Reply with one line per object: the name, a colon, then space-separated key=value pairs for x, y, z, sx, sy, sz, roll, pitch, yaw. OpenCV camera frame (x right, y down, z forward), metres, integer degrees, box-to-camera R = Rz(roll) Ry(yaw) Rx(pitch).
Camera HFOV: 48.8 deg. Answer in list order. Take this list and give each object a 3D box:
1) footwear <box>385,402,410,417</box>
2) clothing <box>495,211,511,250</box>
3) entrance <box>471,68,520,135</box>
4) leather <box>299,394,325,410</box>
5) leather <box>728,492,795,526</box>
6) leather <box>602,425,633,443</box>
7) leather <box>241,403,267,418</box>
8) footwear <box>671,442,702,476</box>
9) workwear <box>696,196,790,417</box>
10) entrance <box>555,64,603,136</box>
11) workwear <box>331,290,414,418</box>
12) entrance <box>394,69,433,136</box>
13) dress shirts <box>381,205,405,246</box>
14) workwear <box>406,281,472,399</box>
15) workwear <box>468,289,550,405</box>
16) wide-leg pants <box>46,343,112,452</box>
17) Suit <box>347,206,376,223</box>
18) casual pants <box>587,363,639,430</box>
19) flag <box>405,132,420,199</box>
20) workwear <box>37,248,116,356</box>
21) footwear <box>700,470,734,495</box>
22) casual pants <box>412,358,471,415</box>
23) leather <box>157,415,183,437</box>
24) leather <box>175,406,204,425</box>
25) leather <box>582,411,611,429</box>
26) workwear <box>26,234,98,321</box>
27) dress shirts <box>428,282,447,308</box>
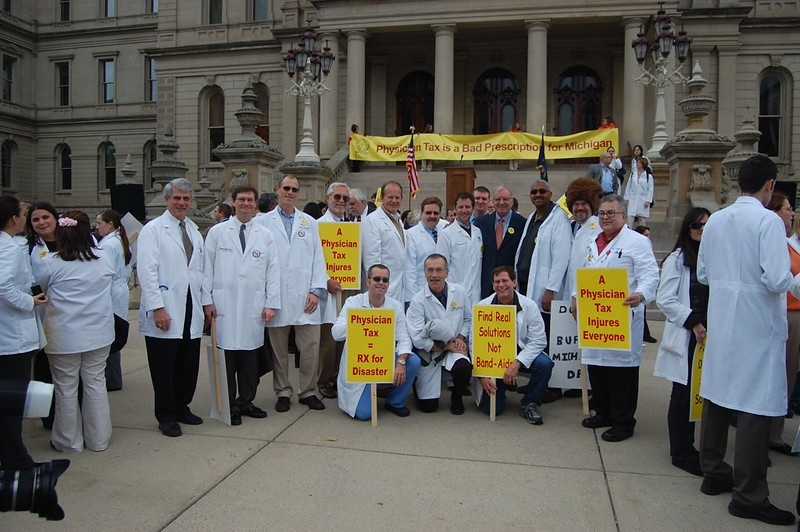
footwear: x=-0.034 y=2.448 z=15.130 sx=0.169 sy=0.201 sz=0.458 roll=-1 pitch=2 yaw=-42
clothing: x=1.928 y=-0.665 z=16.412 sx=0.276 sy=0.637 sz=0.137 roll=8 pitch=1 yaw=31
entrance: x=3.837 y=-6.375 z=35.062 sx=1.812 sy=3.420 sz=0.334 roll=0 pitch=-31 yaw=7
leather: x=-1.519 y=2.353 z=15.317 sx=0.438 sy=0.206 sz=0.195 roll=0 pitch=4 yaw=37
leather: x=5.309 y=3.554 z=12.993 sx=0.931 sy=0.435 sz=0.370 roll=1 pitch=0 yaw=5
leather: x=3.546 y=2.735 z=14.369 sx=0.521 sy=0.241 sz=0.206 roll=0 pitch=3 yaw=-10
leather: x=-2.474 y=2.445 z=14.966 sx=0.438 sy=0.200 sz=0.203 roll=1 pitch=3 yaw=9
footwear: x=4.491 y=3.047 z=13.735 sx=0.494 sy=0.544 sz=0.251 roll=2 pitch=-4 yaw=31
workwear: x=5.146 y=0.574 z=13.089 sx=1.166 sy=3.142 sz=0.529 roll=2 pitch=6 yaw=24
entrance: x=7.014 y=-6.251 z=34.419 sx=1.803 sy=3.479 sz=0.286 roll=0 pitch=-28 yaw=12
workwear: x=-0.123 y=1.590 z=15.798 sx=1.759 sy=2.695 sz=1.749 roll=2 pitch=-2 yaw=-26
entrance: x=0.709 y=-6.359 z=35.977 sx=1.761 sy=3.404 sz=0.194 roll=-2 pitch=39 yaw=-4
dress shirts: x=-0.139 y=-0.718 z=15.957 sx=0.343 sy=0.917 sz=0.628 roll=-6 pitch=7 yaw=17
workwear: x=0.740 y=1.350 z=15.310 sx=1.245 sy=2.110 sz=1.221 roll=-2 pitch=14 yaw=-9
workwear: x=2.038 y=1.490 z=15.407 sx=1.358 sy=1.921 sz=1.093 roll=2 pitch=20 yaw=29
wide-leg pants: x=-5.068 y=1.957 z=14.010 sx=0.946 sy=2.557 sz=0.717 roll=-8 pitch=32 yaw=-31
Suit: x=-0.789 y=-0.983 z=17.229 sx=0.356 sy=0.199 sz=0.500 roll=-13 pitch=11 yaw=14
casual pants: x=3.643 y=2.247 z=14.782 sx=0.437 sy=1.391 sz=0.903 roll=-7 pitch=18 yaw=-24
flag: x=0.297 y=-2.574 z=22.328 sx=0.340 sy=1.995 sz=0.282 roll=4 pitch=11 yaw=-1
workwear: x=-5.136 y=0.576 z=13.937 sx=1.311 sy=2.003 sz=1.014 roll=-4 pitch=7 yaw=-24
footwear: x=4.815 y=3.296 z=13.417 sx=0.608 sy=0.297 sz=0.221 roll=-7 pitch=0 yaw=-6
casual pants: x=0.758 y=1.990 z=15.445 sx=0.798 sy=1.238 sz=0.967 roll=6 pitch=10 yaw=-17
leather: x=-3.756 y=2.650 z=14.430 sx=0.185 sy=0.202 sz=0.452 roll=-1 pitch=-1 yaw=-39
leather: x=-3.527 y=2.518 z=14.766 sx=0.517 sy=0.404 sz=0.196 roll=0 pitch=1 yaw=-6
leather: x=3.282 y=2.585 z=14.801 sx=0.556 sy=0.257 sz=0.205 roll=3 pitch=5 yaw=1
workwear: x=-5.644 y=0.161 z=14.522 sx=1.112 sy=1.497 sz=1.337 roll=-3 pitch=3 yaw=-40
dress shirts: x=0.710 y=0.513 z=15.205 sx=0.249 sy=0.406 sz=0.138 roll=-2 pitch=-15 yaw=-2
